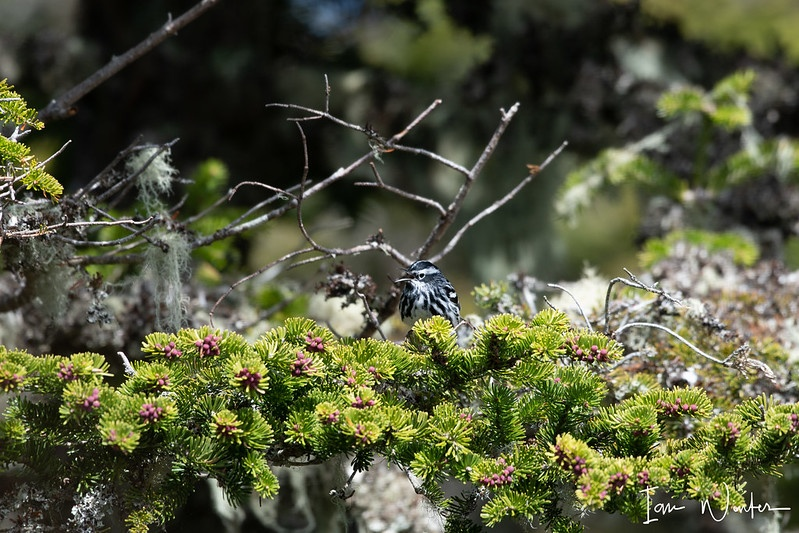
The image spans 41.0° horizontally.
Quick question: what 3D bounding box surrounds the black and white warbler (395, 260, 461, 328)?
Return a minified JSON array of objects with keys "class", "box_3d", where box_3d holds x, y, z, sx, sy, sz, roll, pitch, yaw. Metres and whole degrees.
[{"class":"black and white warbler","box_3d":[0.141,0.100,4.694,0.175,0.256,0.344,6,19,32]}]
